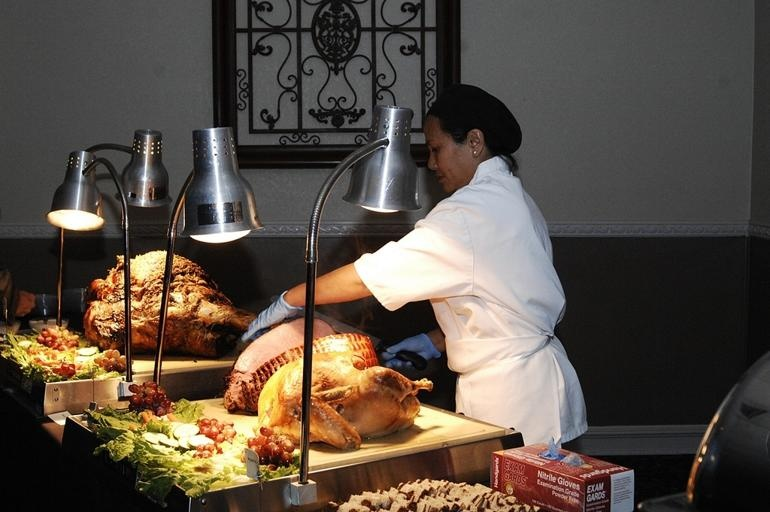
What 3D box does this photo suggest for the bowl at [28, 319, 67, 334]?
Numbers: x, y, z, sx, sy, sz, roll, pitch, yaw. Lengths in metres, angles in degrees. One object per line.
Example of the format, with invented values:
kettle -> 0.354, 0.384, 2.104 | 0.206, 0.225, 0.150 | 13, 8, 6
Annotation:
bowl -> -1.552, 0.315, 3.347 | 0.105, 0.047, 0.109 | 0, -5, 0

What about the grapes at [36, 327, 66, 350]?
grapes -> -1.379, 0.361, 3.076 | 0.110, 0.055, 0.097 | 23, 21, -31

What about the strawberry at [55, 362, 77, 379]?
strawberry -> -1.184, 0.424, 2.728 | 0.049, 0.028, 0.059 | 7, -4, 2

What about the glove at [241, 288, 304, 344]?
glove -> -0.398, 0.224, 2.610 | 0.221, 0.085, 0.143 | -35, 6, 11

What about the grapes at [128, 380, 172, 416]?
grapes -> -0.758, 0.457, 2.371 | 0.142, 0.087, 0.114 | 0, 6, -8

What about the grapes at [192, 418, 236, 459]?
grapes -> -0.500, 0.531, 2.161 | 0.085, 0.040, 0.095 | 2, 16, 12

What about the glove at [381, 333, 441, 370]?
glove -> 0.100, 0.370, 2.791 | 0.190, 0.049, 0.121 | -7, 25, -3

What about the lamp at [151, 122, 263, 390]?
lamp -> -0.615, 0.046, 2.452 | 0.307, 0.918, 0.790 | -1, 6, -18

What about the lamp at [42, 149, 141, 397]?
lamp -> -1.220, 0.007, 3.072 | 0.326, 0.869, 1.410 | -1, 6, -21
